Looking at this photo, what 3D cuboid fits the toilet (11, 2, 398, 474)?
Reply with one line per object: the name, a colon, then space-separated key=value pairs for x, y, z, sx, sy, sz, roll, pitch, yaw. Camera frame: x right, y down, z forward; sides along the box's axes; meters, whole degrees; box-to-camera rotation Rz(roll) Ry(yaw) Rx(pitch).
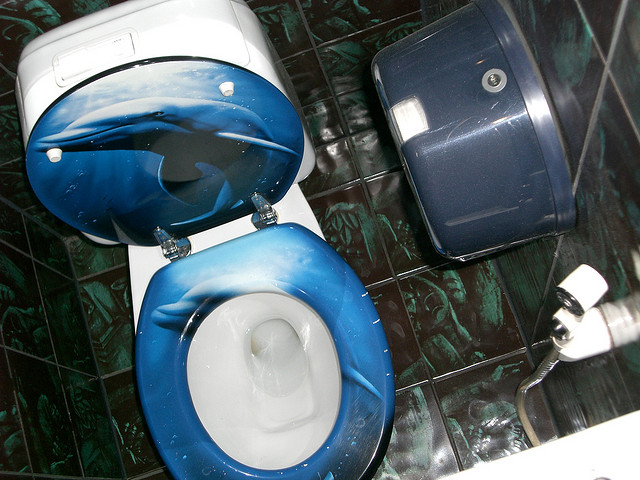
toilet: x=-0.252 y=0.035 z=1.161 sx=0.617 sy=1.053 sz=0.394 roll=-14 pitch=0 yaw=-26
